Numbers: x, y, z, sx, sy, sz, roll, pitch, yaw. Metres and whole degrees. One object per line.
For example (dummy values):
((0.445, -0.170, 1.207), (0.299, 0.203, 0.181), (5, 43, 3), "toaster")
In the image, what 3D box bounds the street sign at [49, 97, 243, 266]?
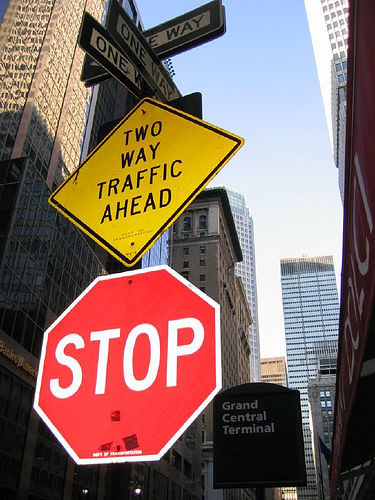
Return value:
((-0.315, -0.524, 3.103), (1.341, 2.119, 0.024), (-13, -47, 10), "street sign")

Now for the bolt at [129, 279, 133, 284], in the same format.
((-0.294, 0.165, 2.360), (0.014, 0.021, 0.004), (5, -2, 25), "bolt")

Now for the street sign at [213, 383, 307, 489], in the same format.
((0.764, 2.080, 5.096), (0.977, 0.212, 1.473), (-8, 25, 11), "street sign")

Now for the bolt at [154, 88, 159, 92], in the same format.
((-0.265, -1.342, 3.849), (0.034, 0.044, 0.006), (2, -20, -5), "bolt")

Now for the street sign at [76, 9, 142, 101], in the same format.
((-0.526, -1.519, 3.476), (0.685, 0.413, 0.008), (34, 17, 10), "street sign")

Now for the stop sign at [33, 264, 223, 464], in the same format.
((-0.274, 0.474, 2.088), (0.950, 0.933, 0.316), (-10, -21, 26), "stop sign")

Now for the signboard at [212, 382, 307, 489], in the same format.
((0.778, 2.093, 5.081), (0.980, 0.221, 1.467), (-7, 23, 11), "signboard")
